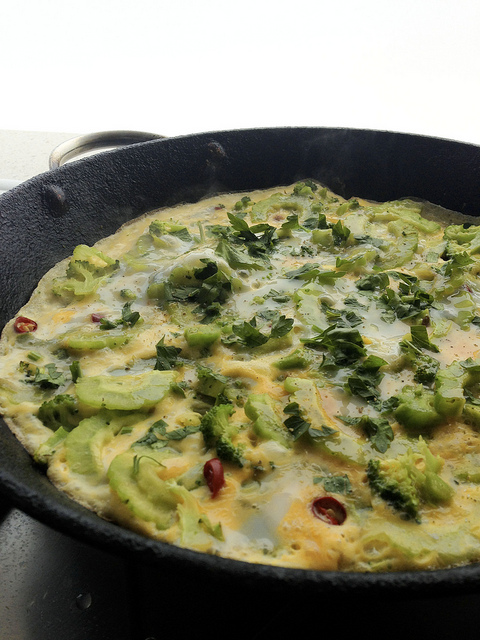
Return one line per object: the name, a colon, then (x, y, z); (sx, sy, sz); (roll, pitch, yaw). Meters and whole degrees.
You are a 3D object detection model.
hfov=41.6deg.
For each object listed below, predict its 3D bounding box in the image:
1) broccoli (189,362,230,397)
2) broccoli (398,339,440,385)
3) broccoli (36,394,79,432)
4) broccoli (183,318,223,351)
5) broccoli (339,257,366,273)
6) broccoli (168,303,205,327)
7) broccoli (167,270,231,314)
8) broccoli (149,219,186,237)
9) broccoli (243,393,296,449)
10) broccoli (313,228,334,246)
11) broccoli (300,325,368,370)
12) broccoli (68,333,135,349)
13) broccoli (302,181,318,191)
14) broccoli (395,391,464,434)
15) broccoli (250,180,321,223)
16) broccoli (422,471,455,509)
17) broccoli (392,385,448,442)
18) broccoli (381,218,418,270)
broccoli: (-0.102, 0.216, 2.270); (0.120, 0.099, 0.040); (28, 12, 13)
broccoli: (0.651, 0.150, 2.328); (0.118, 0.047, 0.177); (-32, 42, -2)
broccoli: (-0.613, 0.315, 2.098); (0.147, 0.033, 0.120); (21, 65, -4)
broccoli: (-0.139, 0.054, 2.459); (0.101, 0.055, 0.135); (23, 32, 35)
broccoli: (0.545, -0.262, 3.007); (0.145, 0.064, 0.032); (-10, 32, -16)
broccoli: (-0.237, -0.022, 2.659); (0.117, 0.026, 0.103); (-11, 34, -21)
broccoli: (-0.169, -0.158, 2.689); (0.234, 0.072, 0.212); (0, 38, 21)
broccoli: (-0.378, -0.486, 3.305); (0.171, 0.034, 0.109); (-10, 35, -43)
broccoli: (0.099, 0.317, 2.097); (0.160, 0.085, 0.253); (-3, 26, -2)
broccoli: (0.441, -0.430, 3.289); (0.089, 0.072, 0.123); (-16, 31, -24)
broccoli: (0.344, 0.099, 2.326); (0.244, 0.051, 0.210); (-18, 26, -33)
broccoli: (-0.547, 0.087, 2.465); (0.272, 0.052, 0.070); (-8, 17, -6)
broccoli: (0.452, -0.871, 4.102); (0.115, 0.027, 0.093); (0, 38, 12)
broccoli: (0.625, 0.301, 2.093); (0.175, 0.116, 0.105); (-14, 31, -21)
broccoli: (0.300, -0.711, 3.972); (0.311, 0.088, 0.474); (-2, -7, 7)
broccoli: (0.575, 0.501, 1.887); (0.098, 0.041, 0.107); (-3, 52, -19)
broccoli: (0.592, 0.314, 2.138); (0.170, 0.059, 0.161); (-4, 39, -5)
broccoli: (0.835, -0.388, 3.293); (0.157, 0.042, 0.406); (3, 33, 11)
